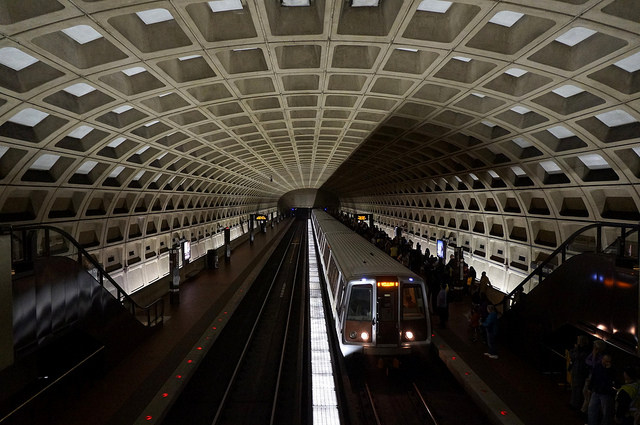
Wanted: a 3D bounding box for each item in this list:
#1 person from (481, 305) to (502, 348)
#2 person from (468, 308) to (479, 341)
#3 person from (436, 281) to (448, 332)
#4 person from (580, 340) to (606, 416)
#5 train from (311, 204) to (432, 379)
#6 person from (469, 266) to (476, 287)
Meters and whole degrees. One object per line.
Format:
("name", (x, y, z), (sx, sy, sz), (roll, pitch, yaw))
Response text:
("person", (6.124, 4.177, 12.648), (0.573, 1.692, 0.620), (2, -4, -9))
("person", (6.156, 4.420, 14.063), (0.348, 1.037, 1.165), (-2, 13, 23))
("person", (5.058, 3.868, 14.610), (0.371, 1.950, 0.584), (-3, 12, 17))
("person", (7.466, 4.623, 9.754), (0.687, 2.448, 0.501), (-16, 14, -39))
("train", (1.997, 3.467, 15.102), (3.196, 3.738, 6.604), (-8, 12, -4))
("person", (7.595, 3.243, 17.610), (0.237, 0.998, 0.769), (-2, 12, 20))
